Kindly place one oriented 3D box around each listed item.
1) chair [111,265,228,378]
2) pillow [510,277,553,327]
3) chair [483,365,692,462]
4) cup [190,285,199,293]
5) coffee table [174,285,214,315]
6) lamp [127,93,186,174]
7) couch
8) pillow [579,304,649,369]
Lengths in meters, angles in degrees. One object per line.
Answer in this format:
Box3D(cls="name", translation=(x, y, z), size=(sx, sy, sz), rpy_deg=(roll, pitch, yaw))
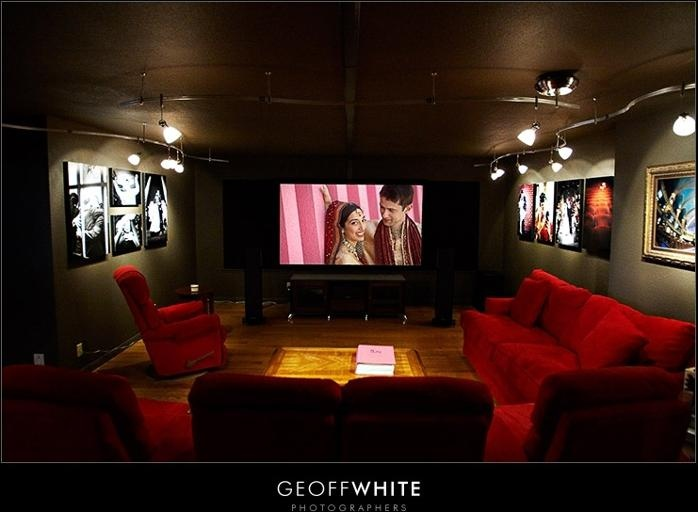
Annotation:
Box3D(cls="chair", translation=(-1.714, 0.563, 5.064), size=(1.040, 1.219, 1.019), rpy_deg=(-5, 10, -21))
Box3D(cls="pillow", translation=(1.720, 0.429, 4.796), size=(0.114, 0.379, 0.373), rpy_deg=(17, 11, -6))
Box3D(cls="chair", translation=(1.279, 0.825, 2.661), size=(0.702, 0.606, 0.655), rpy_deg=(3, -6, -20))
Box3D(cls="cup", translation=(-1.851, 0.384, 5.993), size=(0.121, 0.109, 0.121), rpy_deg=(0, 1, 0))
Box3D(cls="coffee table", translation=(-1.845, 0.476, 6.061), size=(0.374, 0.380, 0.374), rpy_deg=(-1, 6, -21))
Box3D(cls="lamp", translation=(-1.998, -1.269, 5.490), size=(0.619, 0.857, 0.793), rpy_deg=(0, 10, -9))
Box3D(cls="couch", translation=(1.698, 0.201, 4.060), size=(0.859, 1.004, 2.200), rpy_deg=(2, 1, 0))
Box3D(cls="pillow", translation=(1.897, 0.632, 3.678), size=(0.346, 0.400, 0.483), rpy_deg=(1, 9, 9))
